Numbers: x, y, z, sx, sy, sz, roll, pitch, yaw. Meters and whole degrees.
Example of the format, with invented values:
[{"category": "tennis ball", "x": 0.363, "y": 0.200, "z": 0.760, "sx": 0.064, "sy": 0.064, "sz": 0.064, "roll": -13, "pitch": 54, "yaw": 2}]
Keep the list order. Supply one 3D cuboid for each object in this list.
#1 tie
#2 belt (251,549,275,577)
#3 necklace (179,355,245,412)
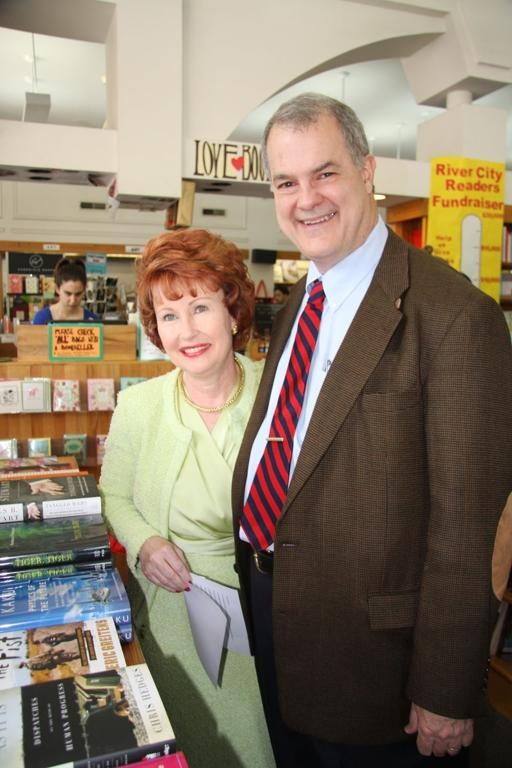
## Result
[{"category": "tie", "x": 0.114, "y": 0.071, "z": 1.327, "sx": 0.145, "sy": 0.632, "sz": 0.073, "roll": 11, "pitch": -8, "yaw": 45}, {"category": "belt", "x": 0.019, "y": 0.399, "z": 1.305, "sx": 0.050, "sy": 0.054, "sz": 0.061, "roll": 3, "pitch": -8, "yaw": -26}, {"category": "necklace", "x": -0.120, "y": 0.002, "z": 1.577, "sx": 0.159, "sy": 0.157, "sz": 0.038, "roll": -6, "pitch": 0, "yaw": 2}]
